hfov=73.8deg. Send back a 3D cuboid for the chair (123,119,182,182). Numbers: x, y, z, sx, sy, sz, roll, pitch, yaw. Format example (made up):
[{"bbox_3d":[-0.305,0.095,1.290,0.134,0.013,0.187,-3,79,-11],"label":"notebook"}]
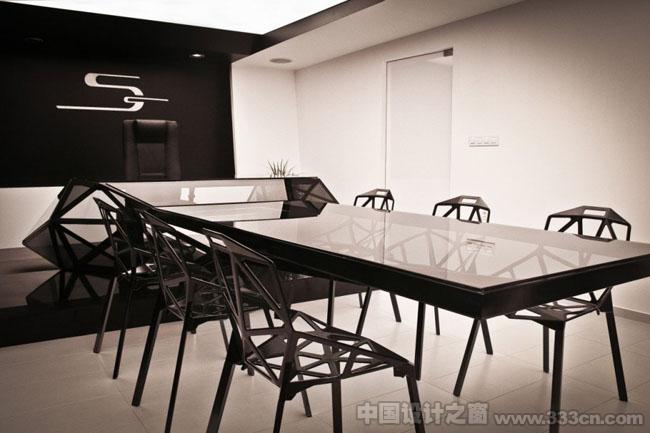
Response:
[{"bbox_3d":[-2.308,-0.736,5.792,0.731,1.093,0.935,-2,7,-16],"label":"chair"}]
